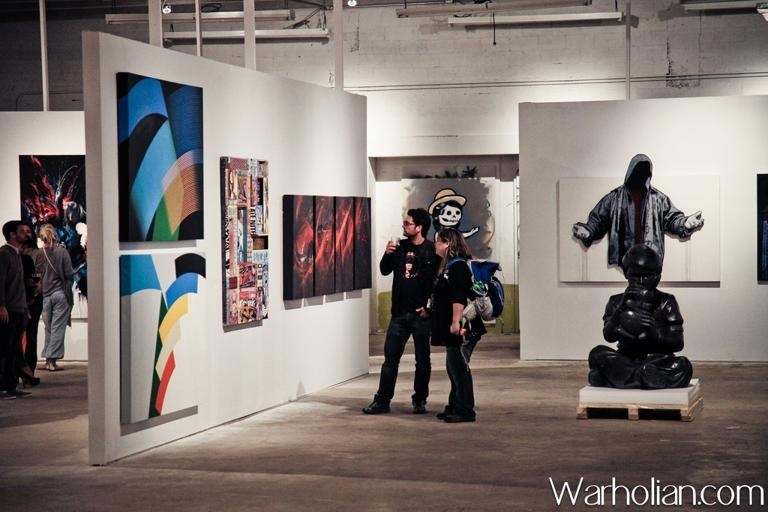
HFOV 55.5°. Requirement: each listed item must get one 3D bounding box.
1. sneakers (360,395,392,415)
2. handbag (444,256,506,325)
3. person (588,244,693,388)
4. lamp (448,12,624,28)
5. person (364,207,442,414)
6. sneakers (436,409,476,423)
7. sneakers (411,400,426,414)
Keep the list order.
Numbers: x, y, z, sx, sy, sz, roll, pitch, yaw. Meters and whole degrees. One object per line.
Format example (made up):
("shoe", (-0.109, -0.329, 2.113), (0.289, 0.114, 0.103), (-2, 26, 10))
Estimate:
("sneakers", (-0.066, 1.721, 8.425), (0.286, 0.128, 0.166), (0, -2, 1))
("handbag", (0.981, 0.362, 8.003), (0.639, 0.672, 0.542), (-3, 4, 8))
("person", (2.867, 0.677, 8.220), (1.070, 1.580, 0.451), (0, 3, 21))
("lamp", (2.895, -4.565, 14.066), (3.287, 0.220, 0.351), (0, 3, 6))
("person", (0.258, 0.635, 8.370), (0.784, 2.325, 0.455), (-1, 2, 6))
("sneakers", (0.798, 1.744, 8.030), (0.422, 0.185, 0.146), (-2, 0, 7))
("sneakers", (0.406, 1.737, 8.407), (0.097, 0.112, 0.276), (-1, -10, 6))
